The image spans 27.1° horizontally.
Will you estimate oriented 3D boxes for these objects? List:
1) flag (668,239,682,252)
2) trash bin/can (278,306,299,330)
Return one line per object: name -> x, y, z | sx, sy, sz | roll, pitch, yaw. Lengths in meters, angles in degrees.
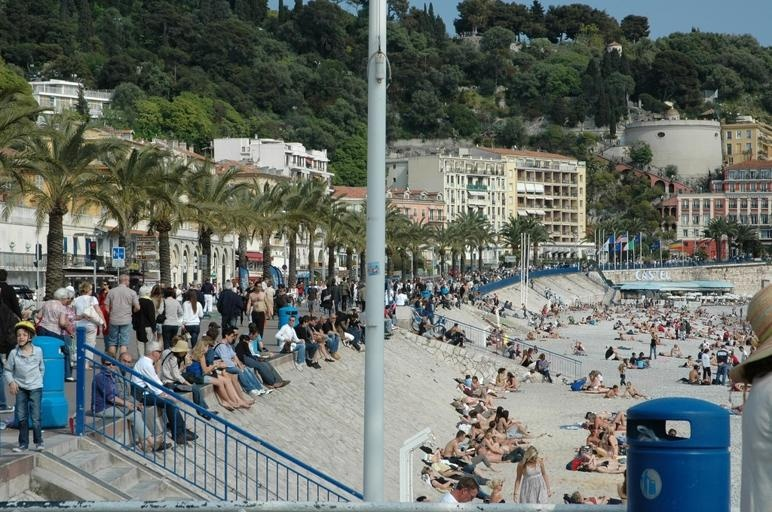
flag -> 51.144, -1.691, 281.084 | 1.876, 1.928, 0.484 | -1, -22, 13
trash bin/can -> -10.135, 5.862, 162.653 | 1.925, 2.283, 2.032 | -1, -5, 22
